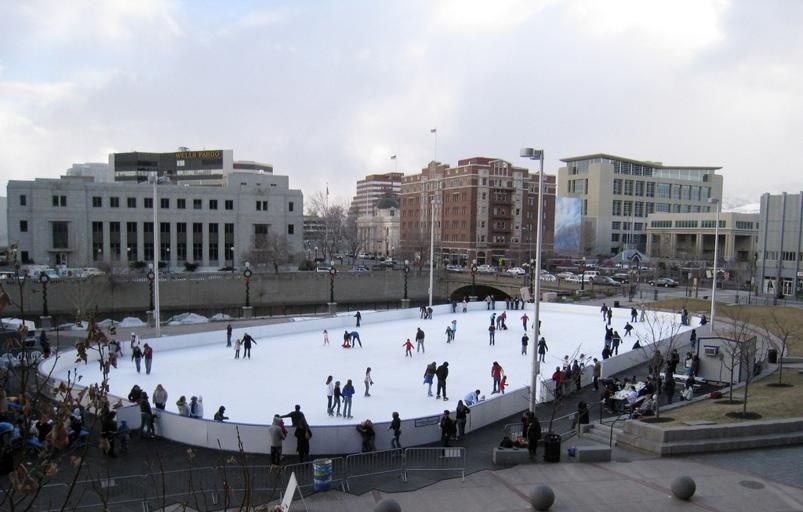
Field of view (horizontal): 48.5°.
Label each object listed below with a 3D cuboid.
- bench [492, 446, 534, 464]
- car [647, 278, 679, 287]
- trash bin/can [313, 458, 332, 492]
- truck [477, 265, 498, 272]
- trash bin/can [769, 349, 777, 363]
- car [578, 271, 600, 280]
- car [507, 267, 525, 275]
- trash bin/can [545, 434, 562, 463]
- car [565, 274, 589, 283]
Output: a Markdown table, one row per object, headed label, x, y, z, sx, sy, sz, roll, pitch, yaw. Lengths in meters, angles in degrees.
| label | x | y | z | sx | sy | sz | roll | pitch | yaw |
| --- | --- | --- | --- | --- | --- | --- | --- | --- | --- |
| bench | 7.616 | 14.091 | 62.647 | 2.123 | 0.949 | 1.140 | 0 | -9 | -9 |
| car | 37.438 | 3.939 | 127.383 | 3.425 | 1.042 | 3.210 | 8 | 15 | 34 |
| trash bin/can | -5.404 | 14.888 | 60.776 | 1.278 | 2.090 | 0.806 | -3 | 13 | -8 |
| truck | 13.078 | 2.060 | 138.266 | 2.548 | 0.828 | 1.662 | 4 | 4 | 31 |
| trash bin/can | 31.457 | 8.408 | 75.479 | 0.699 | 0.940 | 1.644 | 5 | 14 | 25 |
| car | 27.101 | 2.882 | 128.739 | 1.093 | 0.904 | 1.840 | -5 | 8 | -43 |
| car | 17.506 | 2.443 | 136.541 | 2.349 | 1.064 | 1.386 | -2 | 1 | 23 |
| trash bin/can | 10.525 | 13.364 | 62.196 | 1.206 | 1.848 | 0.906 | 2 | 13 | 12 |
| car | 24.186 | 3.561 | 122.704 | 3.113 | 1.426 | 1.892 | -1 | 7 | -3 |
